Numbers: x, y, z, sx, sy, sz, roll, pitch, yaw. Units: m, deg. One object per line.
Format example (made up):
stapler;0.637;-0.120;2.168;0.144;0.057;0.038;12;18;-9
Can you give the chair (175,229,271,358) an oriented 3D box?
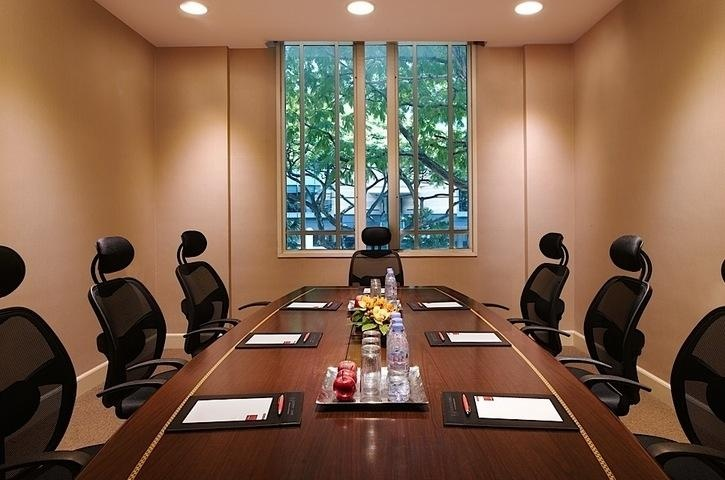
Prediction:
chair;-1.262;0.610;3.991;0.754;1.306;0.726;-10;-4;27

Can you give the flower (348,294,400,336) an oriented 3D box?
flower;0.049;0.453;2.813;0.289;0.170;0.285;0;0;-35

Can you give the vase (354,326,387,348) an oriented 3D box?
vase;0.031;0.611;2.893;0.200;0.148;0.195;3;-8;-27
